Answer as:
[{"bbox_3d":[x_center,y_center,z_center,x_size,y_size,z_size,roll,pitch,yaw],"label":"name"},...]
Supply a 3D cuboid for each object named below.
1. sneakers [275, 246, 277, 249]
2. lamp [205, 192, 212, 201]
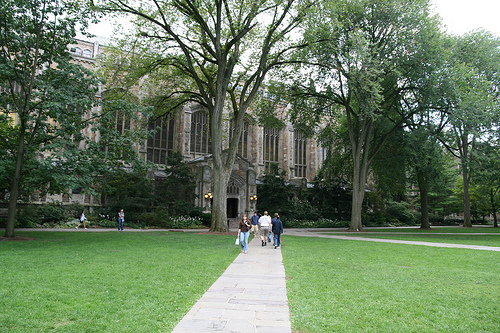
[{"bbox_3d":[1.501,4.789,23.449,0.099,0.154,0.163,2,-12,-3],"label":"sneakers"},{"bbox_3d":[-4.643,3.367,44.010,0.917,0.769,0.912,1,-13,-9],"label":"lamp"}]
